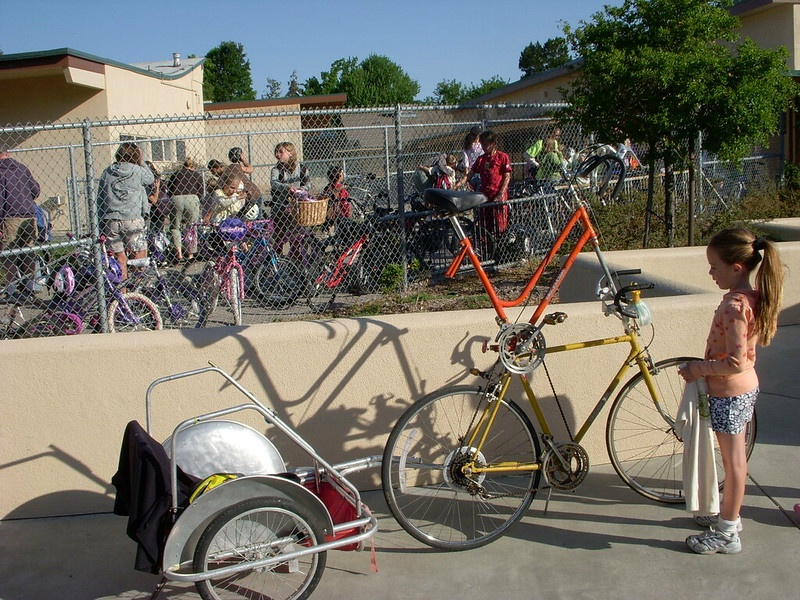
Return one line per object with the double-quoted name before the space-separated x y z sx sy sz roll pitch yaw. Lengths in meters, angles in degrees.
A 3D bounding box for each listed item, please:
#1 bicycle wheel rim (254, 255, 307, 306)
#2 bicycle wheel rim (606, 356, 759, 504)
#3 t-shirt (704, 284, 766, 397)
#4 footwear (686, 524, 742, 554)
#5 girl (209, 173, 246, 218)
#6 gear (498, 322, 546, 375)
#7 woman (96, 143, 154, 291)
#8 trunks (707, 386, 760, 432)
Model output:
"bicycle wheel rim" -1.500 -0.270 10.178 0.577 0.609 0.591 1 7 1
"bicycle wheel rim" 1.774 0.815 5.077 0.941 0.993 0.205 0 1 0
"t-shirt" 1.931 0.260 4.702 0.311 0.616 0.223 1 8 20
"footwear" 1.860 1.427 4.837 0.327 0.170 0.144 1 0 8
"girl" -2.192 -1.324 10.320 0.304 0.404 0.682 5 27 1
"gear" 0.753 0.264 4.960 0.291 0.300 0.279 0 -32 -17
"woman" -3.137 -0.921 9.275 0.638 1.705 0.510 -2 9 -20
"trunks" 1.999 0.580 4.808 0.224 0.247 0.338 -2 6 34
